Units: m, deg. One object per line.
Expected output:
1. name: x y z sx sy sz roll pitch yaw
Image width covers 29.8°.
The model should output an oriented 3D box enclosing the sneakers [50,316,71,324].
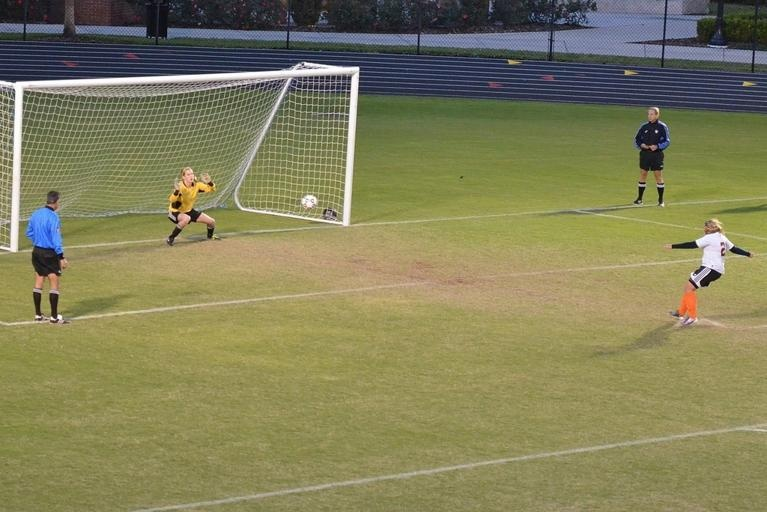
1. sneakers: -6.072 1.166 26.882 0.373 0.110 0.131 -1 20 -21

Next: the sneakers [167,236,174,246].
1. sneakers: -4.600 -0.330 30.974 0.146 0.168 0.173 1 10 -9

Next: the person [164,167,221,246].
1. person: -4.170 -1.101 31.203 1.030 1.648 1.419 1 10 -6

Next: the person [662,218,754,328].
1. person: 6.130 0.292 27.468 1.263 2.024 0.417 4 12 9

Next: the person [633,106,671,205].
1. person: 6.612 -2.467 35.430 0.814 2.422 1.576 5 11 9
